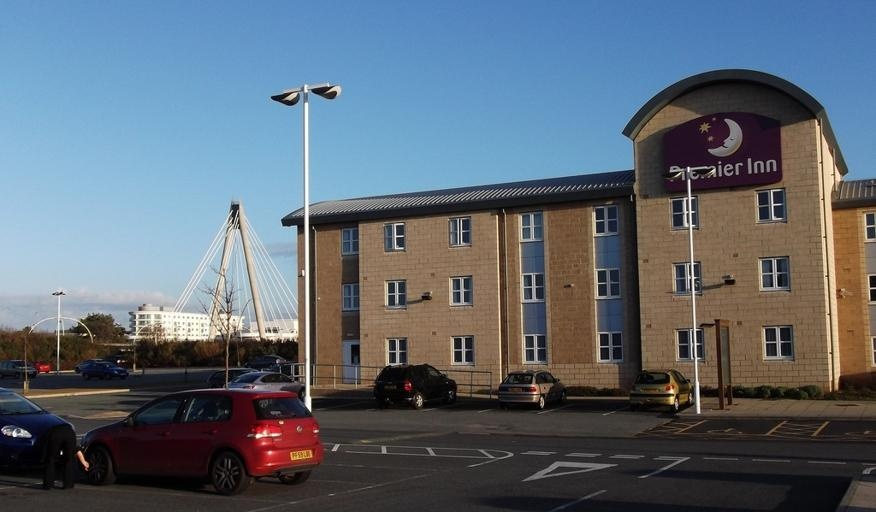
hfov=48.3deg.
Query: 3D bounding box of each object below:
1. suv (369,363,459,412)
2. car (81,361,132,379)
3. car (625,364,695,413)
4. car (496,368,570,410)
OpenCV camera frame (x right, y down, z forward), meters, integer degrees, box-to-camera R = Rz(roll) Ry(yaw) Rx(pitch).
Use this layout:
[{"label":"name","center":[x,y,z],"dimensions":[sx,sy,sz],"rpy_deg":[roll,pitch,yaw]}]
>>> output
[{"label":"suv","center":[-1.209,6.991,52.001],"dimensions":[4.107,2.251,1.555],"rpy_deg":[-2,0,-36]},{"label":"car","center":[-26.956,9.423,79.375],"dimensions":[3.665,1.173,1.670],"rpy_deg":[-4,-5,23]},{"label":"car","center":[11.267,6.818,49.661],"dimensions":[2.523,1.974,2.888],"rpy_deg":[-2,0,23]},{"label":"car","center":[4.906,6.990,51.052],"dimensions":[1.694,1.853,3.494],"rpy_deg":[-2,0,44]}]
